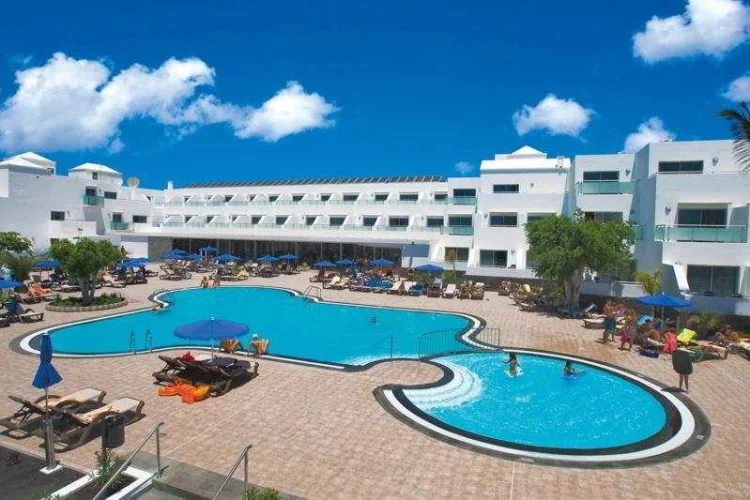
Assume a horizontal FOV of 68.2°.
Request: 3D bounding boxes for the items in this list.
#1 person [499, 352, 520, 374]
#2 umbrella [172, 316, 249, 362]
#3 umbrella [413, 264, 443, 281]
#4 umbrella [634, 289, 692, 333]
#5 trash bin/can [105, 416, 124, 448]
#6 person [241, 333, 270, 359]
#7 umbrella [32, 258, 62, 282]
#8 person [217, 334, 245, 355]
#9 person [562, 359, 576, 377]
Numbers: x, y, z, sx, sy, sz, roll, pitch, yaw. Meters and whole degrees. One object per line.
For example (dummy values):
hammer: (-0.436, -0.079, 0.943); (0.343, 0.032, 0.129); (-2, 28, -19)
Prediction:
person: (6.410, 5.176, 26.058); (0.873, 0.966, 1.424); (1, 10, 10)
umbrella: (-6.936, 3.576, 23.496); (2.319, 1.250, 2.127); (7, 13, 37)
umbrella: (4.252, 1.715, 43.328); (1.475, 0.924, 1.409); (1, 4, 6)
umbrella: (14.885, 3.191, 28.860); (1.936, 1.225, 1.908); (2, 8, 22)
trash bin/can: (-9.396, 6.578, 19.936); (0.674, 0.911, 0.926); (-5, 11, -20)
person: (-5.779, 4.670, 26.933); (1.072, 1.057, 1.144); (1, -3, -2)
umbrella: (-24.943, 1.502, 42.180); (1.706, 1.298, 1.637); (3, 3, -12)
person: (-6.938, 4.520, 26.388); (0.924, 0.518, 1.341); (2, -4, -4)
person: (8.919, 5.367, 25.490); (0.584, 0.684, 0.910); (3, 11, 20)
